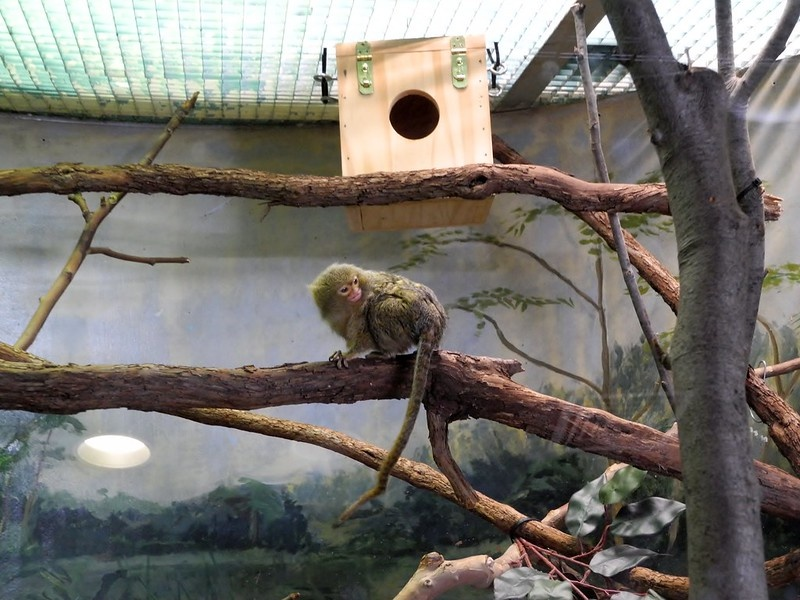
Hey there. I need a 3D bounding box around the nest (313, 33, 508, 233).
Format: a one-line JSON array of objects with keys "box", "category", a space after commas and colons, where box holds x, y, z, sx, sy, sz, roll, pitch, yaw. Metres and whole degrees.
[{"box": [0.076, -1.051, 7.321, 1.058, 1.114, 1.107, -4, -1, -4], "category": "nest"}]

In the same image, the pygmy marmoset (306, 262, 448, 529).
[{"box": [-0.142, 0.426, 6.410, 0.789, 1.639, 0.848, -10, -13, 19], "category": "pygmy marmoset"}]
